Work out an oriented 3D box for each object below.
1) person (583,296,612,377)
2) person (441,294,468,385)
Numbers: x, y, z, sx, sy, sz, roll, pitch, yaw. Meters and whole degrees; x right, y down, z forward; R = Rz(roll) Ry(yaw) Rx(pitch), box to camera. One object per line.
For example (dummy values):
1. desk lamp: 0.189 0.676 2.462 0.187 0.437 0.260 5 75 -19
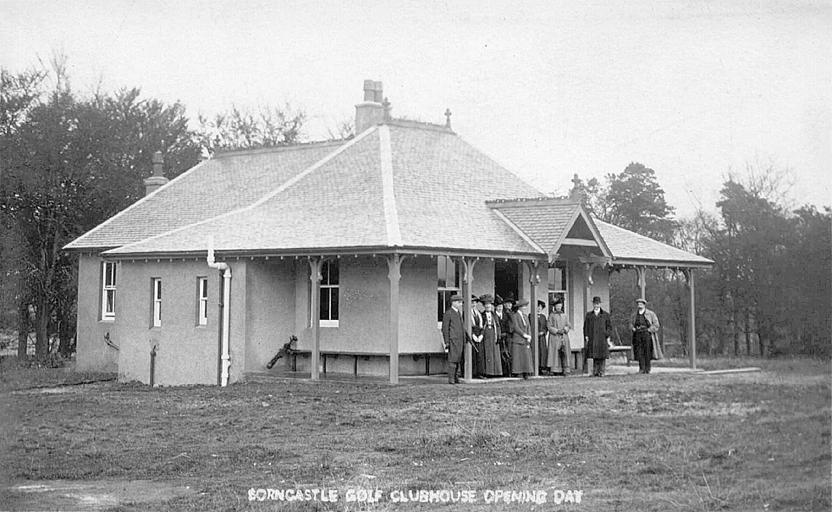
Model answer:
1. person: 5.940 2.702 31.373 0.861 2.606 1.267 2 9 10
2. person: 1.136 2.557 28.648 0.690 2.560 1.371 1 9 3
